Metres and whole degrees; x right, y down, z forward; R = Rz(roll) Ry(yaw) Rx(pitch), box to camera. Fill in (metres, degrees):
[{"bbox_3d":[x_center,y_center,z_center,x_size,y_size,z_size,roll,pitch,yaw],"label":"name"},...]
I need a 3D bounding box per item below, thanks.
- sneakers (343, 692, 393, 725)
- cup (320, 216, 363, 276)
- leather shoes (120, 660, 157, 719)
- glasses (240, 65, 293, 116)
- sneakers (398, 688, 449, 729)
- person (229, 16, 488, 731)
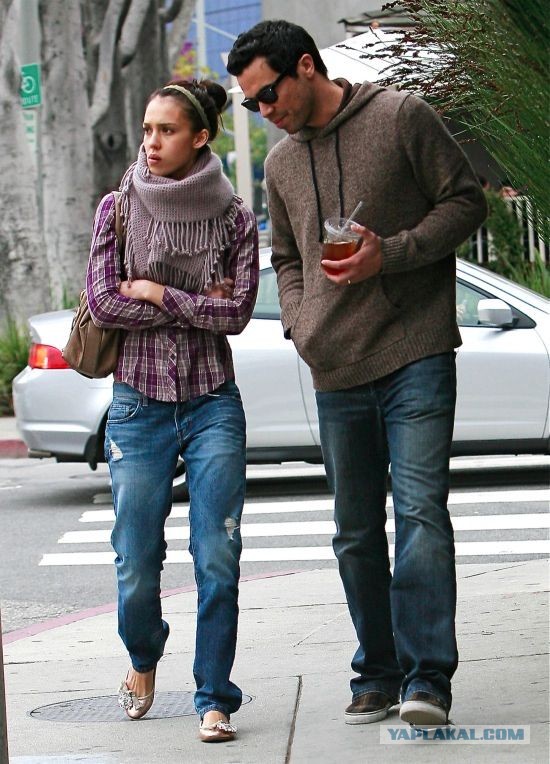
[{"bbox_3d":[0.256,0.902,3.060,0.059,0.062,0.160,-8,-11,41],"label":"sneakers"},{"bbox_3d":[0.166,-0.344,2.780,0.102,0.139,0.136,-6,1,-9],"label":"cup"},{"bbox_3d":[-0.404,0.917,3.306,0.092,0.161,0.045,7,16,7],"label":"leather shoes"},{"bbox_3d":[-0.023,-0.777,2.935,0.103,0.034,0.103,-44,11,-25],"label":"glasses"},{"bbox_3d":[0.376,0.828,2.777,0.115,0.107,0.098,-6,1,11],"label":"sneakers"},{"bbox_3d":[0.281,-0.033,2.975,0.639,1.866,0.524,-6,1,16],"label":"person"}]
